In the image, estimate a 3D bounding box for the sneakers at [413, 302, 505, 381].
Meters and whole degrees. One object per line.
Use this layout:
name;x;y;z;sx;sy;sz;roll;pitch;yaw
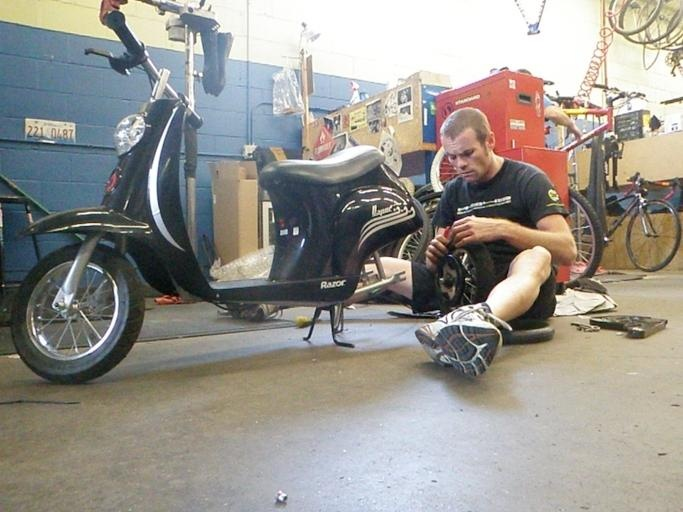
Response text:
sneakers;0.389;0.269;1.761;0.157;0.142;0.345;-37;8;-15

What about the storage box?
storage box;0.387;-0.746;3.650;2.083;1.349;0.930;-1;0;-23

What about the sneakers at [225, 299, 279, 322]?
sneakers;-0.494;0.291;2.972;0.258;0.100;0.203;2;-1;-7

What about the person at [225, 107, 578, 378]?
person;0.309;-0.107;2.129;1.068;0.955;1.148;2;-3;-35

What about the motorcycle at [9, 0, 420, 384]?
motorcycle;-0.393;-0.181;2.697;2.089;1.526;1.011;-1;1;-31
